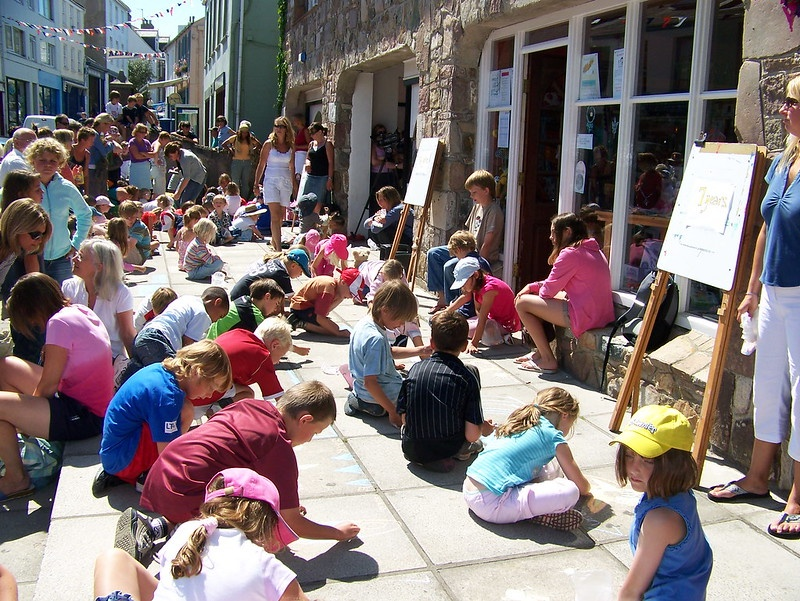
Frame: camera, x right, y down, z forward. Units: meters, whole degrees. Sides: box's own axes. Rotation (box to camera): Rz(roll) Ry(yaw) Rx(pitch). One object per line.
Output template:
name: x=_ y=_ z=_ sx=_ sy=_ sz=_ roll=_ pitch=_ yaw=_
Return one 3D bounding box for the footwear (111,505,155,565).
footwear: x=-1.202 y=1.050 z=2.666 sx=0.123 sy=0.346 sz=0.138 roll=-2 pitch=-3 yaw=40

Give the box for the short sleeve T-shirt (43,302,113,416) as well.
short sleeve T-shirt: x=-1.952 y=0.372 z=3.566 sx=0.300 sy=0.678 sz=0.491 roll=6 pitch=13 yaw=10

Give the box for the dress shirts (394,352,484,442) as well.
dress shirts: x=0.247 y=0.514 z=3.626 sx=0.430 sy=0.613 sz=0.475 roll=9 pitch=19 yaw=25

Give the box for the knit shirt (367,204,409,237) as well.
knit shirt: x=-0.169 y=-1.183 z=8.824 sx=0.554 sy=0.716 sz=0.421 roll=-1 pitch=15 yaw=6

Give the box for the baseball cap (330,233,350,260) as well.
baseball cap: x=-0.745 y=-0.650 z=7.260 sx=0.190 sy=0.315 sz=0.144 roll=-27 pitch=17 yaw=-31

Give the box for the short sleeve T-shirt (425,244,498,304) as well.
short sleeve T-shirt: x=0.626 y=-0.360 z=6.497 sx=0.620 sy=0.951 sz=0.653 roll=0 pitch=7 yaw=-25

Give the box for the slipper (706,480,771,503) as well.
slipper: x=1.906 y=1.039 z=3.341 sx=0.305 sy=0.091 sz=0.144 roll=-1 pitch=0 yaw=-3

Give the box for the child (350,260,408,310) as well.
child: x=-0.319 y=-0.238 z=6.564 sx=0.649 sy=0.371 sz=0.415 roll=-19 pitch=-15 yaw=13

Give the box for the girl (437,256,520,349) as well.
girl: x=0.761 y=0.012 z=5.672 sx=0.653 sy=0.869 sz=0.542 roll=-6 pitch=11 yaw=-6

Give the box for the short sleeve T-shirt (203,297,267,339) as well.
short sleeve T-shirt: x=-1.308 y=0.122 z=4.664 sx=0.314 sy=0.319 sz=0.142 roll=40 pitch=-15 yaw=20

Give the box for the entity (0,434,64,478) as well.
entity: x=-2.129 y=0.926 z=3.531 sx=0.207 sy=0.256 sz=0.170 roll=-11 pitch=17 yaw=-34

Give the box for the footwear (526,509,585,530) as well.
footwear: x=0.800 y=1.117 z=3.053 sx=0.270 sy=0.113 sz=0.126 roll=3 pitch=4 yaw=13

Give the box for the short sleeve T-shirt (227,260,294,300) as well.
short sleeve T-shirt: x=-1.416 y=-0.281 z=5.994 sx=0.486 sy=0.353 sz=0.412 roll=-19 pitch=36 yaw=-24

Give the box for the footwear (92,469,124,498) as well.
footwear: x=-1.657 y=1.026 z=3.366 sx=0.075 sy=0.112 sz=0.223 roll=-2 pitch=-7 yaw=25

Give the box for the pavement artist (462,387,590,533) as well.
pavement artist: x=0.648 y=0.720 z=3.244 sx=0.561 sy=0.592 sz=0.721 roll=-4 pitch=7 yaw=-18

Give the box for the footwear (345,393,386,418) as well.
footwear: x=-0.258 y=0.778 z=4.292 sx=0.247 sy=0.135 sz=0.155 roll=12 pitch=-6 yaw=-4

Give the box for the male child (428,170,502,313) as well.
male child: x=0.732 y=-0.684 z=6.672 sx=0.741 sy=1.624 sz=0.673 roll=-4 pitch=15 yaw=-16

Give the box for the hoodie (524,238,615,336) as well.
hoodie: x=1.493 y=-0.256 z=5.082 sx=0.585 sy=0.831 sz=0.752 roll=-9 pitch=30 yaw=-1

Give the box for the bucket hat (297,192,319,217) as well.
bucket hat: x=-1.631 y=-1.667 z=10.489 sx=0.261 sy=0.460 sz=0.241 roll=-1 pitch=-30 yaw=-1

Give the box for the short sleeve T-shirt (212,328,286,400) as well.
short sleeve T-shirt: x=-1.030 y=0.422 z=3.961 sx=0.539 sy=0.435 sz=0.311 roll=22 pitch=8 yaw=37

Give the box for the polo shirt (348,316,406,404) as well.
polo shirt: x=-0.141 y=0.396 z=4.168 sx=0.378 sy=0.627 sz=0.511 roll=-3 pitch=15 yaw=-15

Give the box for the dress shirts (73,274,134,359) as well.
dress shirts: x=-2.162 y=0.112 z=4.277 sx=0.470 sy=0.575 sz=0.289 roll=9 pitch=13 yaw=-10

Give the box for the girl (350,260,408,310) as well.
girl: x=-0.320 y=-0.223 z=6.551 sx=0.595 sy=0.324 sz=0.384 roll=-17 pitch=-15 yaw=14

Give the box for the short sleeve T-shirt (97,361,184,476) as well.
short sleeve T-shirt: x=-1.419 y=0.607 z=3.279 sx=0.491 sy=0.626 sz=0.400 roll=23 pitch=17 yaw=38

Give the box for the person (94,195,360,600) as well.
person: x=-0.895 y=0.595 z=2.953 sx=1.048 sy=1.159 sz=0.843 roll=-1 pitch=9 yaw=-28

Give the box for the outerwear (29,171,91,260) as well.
outerwear: x=-3.185 y=-0.790 z=5.386 sx=0.663 sy=0.940 sz=0.331 roll=-1 pitch=3 yaw=-25

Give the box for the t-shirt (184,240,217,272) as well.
t-shirt: x=-2.663 y=-0.628 z=7.891 sx=0.386 sy=0.463 sz=0.334 roll=-9 pitch=15 yaw=-28

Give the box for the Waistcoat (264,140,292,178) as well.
Waistcoat: x=-2.084 y=-2.430 z=10.090 sx=0.484 sy=0.768 sz=0.367 roll=5 pitch=-6 yaw=-20

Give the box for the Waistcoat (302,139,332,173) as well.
Waistcoat: x=-1.492 y=-2.582 z=10.996 sx=0.555 sy=0.886 sz=0.430 roll=4 pitch=4 yaw=41

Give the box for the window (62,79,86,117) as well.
window: x=-21.255 y=-13.216 z=39.130 sx=0.397 sy=2.316 sz=2.931 roll=-16 pitch=17 yaw=-12

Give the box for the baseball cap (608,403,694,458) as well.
baseball cap: x=1.010 y=0.506 z=2.340 sx=0.314 sy=0.196 sz=0.253 roll=7 pitch=0 yaw=-14

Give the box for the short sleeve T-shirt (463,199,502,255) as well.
short sleeve T-shirt: x=0.915 y=-0.793 z=6.467 sx=0.266 sy=0.625 sz=0.531 roll=-5 pitch=16 yaw=-19

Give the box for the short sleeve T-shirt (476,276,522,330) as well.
short sleeve T-shirt: x=0.897 y=-0.012 z=5.746 sx=0.474 sy=0.651 sz=0.435 roll=4 pitch=20 yaw=19

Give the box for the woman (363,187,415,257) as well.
woman: x=-0.153 y=-1.097 z=8.960 sx=0.672 sy=1.229 sz=0.503 roll=1 pitch=7 yaw=-13

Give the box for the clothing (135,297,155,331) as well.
clothing: x=-2.064 y=0.114 z=4.796 sx=0.107 sy=0.284 sz=0.194 roll=6 pitch=-5 yaw=-21

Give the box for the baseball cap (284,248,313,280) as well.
baseball cap: x=-1.037 y=-0.400 z=6.197 sx=0.285 sy=0.151 sz=0.176 roll=40 pitch=-4 yaw=-39

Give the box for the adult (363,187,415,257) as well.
adult: x=-0.148 y=-1.096 z=8.954 sx=0.684 sy=1.244 sz=0.521 roll=1 pitch=7 yaw=-8

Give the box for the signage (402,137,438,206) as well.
signage: x=0.210 y=-1.614 z=7.463 sx=0.069 sy=0.827 sz=0.548 roll=5 pitch=6 yaw=-24

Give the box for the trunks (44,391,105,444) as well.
trunks: x=-1.989 y=0.722 z=3.632 sx=0.242 sy=0.287 sz=0.091 roll=21 pitch=11 yaw=-1

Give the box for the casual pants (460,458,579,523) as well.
casual pants: x=0.715 y=1.151 z=3.418 sx=0.544 sy=0.264 sz=0.853 roll=-3 pitch=-15 yaw=11
